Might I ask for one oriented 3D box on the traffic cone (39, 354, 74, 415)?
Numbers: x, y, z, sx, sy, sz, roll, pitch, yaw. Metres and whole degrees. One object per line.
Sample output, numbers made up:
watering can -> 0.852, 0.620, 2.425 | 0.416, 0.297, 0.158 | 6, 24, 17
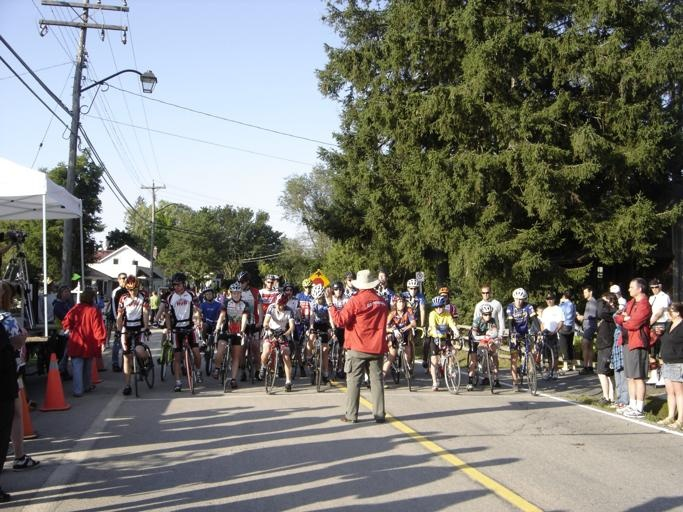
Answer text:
traffic cone -> -5.560, 2.508, 13.444 | 0.532, 1.192, 0.561 | 0, -2, -9
